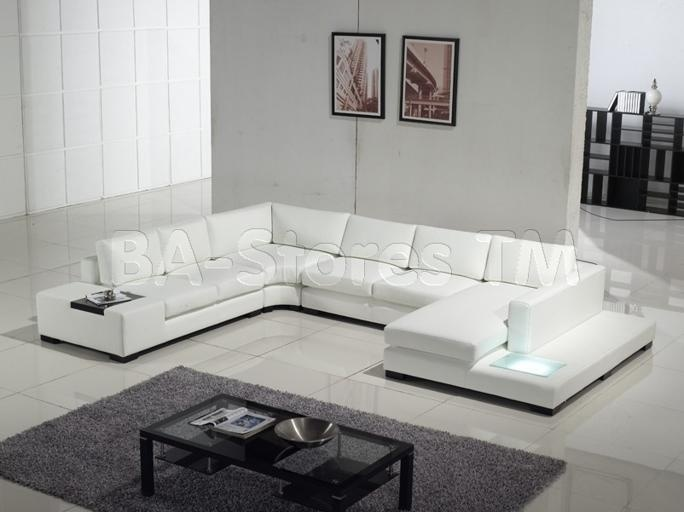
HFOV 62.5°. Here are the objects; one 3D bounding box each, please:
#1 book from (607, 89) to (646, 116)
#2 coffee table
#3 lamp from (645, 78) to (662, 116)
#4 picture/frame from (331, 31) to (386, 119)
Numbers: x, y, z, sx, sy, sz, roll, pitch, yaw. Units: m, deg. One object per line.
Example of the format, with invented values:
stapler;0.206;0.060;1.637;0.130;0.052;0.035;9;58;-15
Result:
book;5.262;-2.821;10.379;0.611;0.427;0.296;6;15;26
coffee table;-0.354;1.260;3.368;1.473;0.414;0.688;6;15;26
lamp;5.661;-2.899;10.210;0.266;0.658;0.460;7;15;29
picture/frame;0.223;-2.257;6.893;0.902;1.274;0.051;9;16;34
